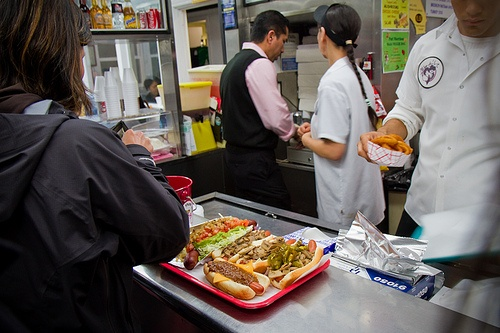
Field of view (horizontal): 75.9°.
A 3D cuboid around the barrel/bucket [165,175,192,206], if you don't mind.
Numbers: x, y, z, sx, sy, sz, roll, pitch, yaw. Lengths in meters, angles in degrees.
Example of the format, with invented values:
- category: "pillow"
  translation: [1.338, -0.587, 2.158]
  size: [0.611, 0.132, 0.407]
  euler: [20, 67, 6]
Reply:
- category: "barrel/bucket"
  translation: [-0.367, 0.110, 1.586]
  size: [0.138, 0.109, 0.143]
  euler: [0, 13, 0]

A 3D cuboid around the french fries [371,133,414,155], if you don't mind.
- category: "french fries"
  translation: [0.702, -0.110, 1.566]
  size: [0.124, 0.053, 0.128]
  euler: [13, 11, -14]

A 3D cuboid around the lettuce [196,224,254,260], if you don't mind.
- category: "lettuce"
  translation: [-0.097, 0.321, 1.480]
  size: [0.080, 0.098, 0.343]
  euler: [28, 21, 23]

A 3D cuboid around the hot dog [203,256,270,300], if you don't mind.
- category: "hot dog"
  translation: [-0.059, 0.402, 1.167]
  size: [0.174, 0.055, 0.112]
  euler: [15, 17, 40]

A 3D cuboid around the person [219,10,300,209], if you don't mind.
- category: "person"
  translation: [0.063, -0.467, 2.896]
  size: [0.704, 1.733, 0.516]
  euler: [0, 18, 8]

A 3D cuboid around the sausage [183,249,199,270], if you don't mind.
- category: "sausage"
  translation: [-0.235, 0.375, 1.275]
  size: [0.038, 0.044, 0.076]
  euler: [12, 22, 10]

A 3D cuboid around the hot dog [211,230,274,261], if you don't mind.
- category: "hot dog"
  translation: [-0.030, 0.331, 1.387]
  size: [0.103, 0.043, 0.204]
  euler: [6, 23, 40]
